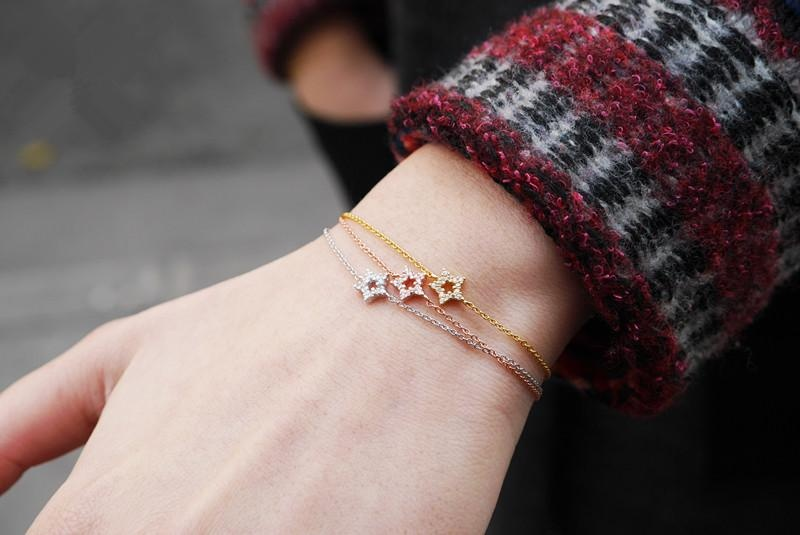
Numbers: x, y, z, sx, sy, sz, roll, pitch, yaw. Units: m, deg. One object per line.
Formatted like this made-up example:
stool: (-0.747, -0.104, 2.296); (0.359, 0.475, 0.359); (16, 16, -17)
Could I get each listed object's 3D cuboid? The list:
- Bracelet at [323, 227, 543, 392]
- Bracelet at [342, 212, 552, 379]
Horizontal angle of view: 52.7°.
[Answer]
Bracelet: (0.113, 0.133, 2.267); (0.767, 0.238, 0.056); (46, 32, 2)
Bracelet: (0.150, 0.093, 2.216); (0.568, 0.067, 0.086); (42, 42, 7)
